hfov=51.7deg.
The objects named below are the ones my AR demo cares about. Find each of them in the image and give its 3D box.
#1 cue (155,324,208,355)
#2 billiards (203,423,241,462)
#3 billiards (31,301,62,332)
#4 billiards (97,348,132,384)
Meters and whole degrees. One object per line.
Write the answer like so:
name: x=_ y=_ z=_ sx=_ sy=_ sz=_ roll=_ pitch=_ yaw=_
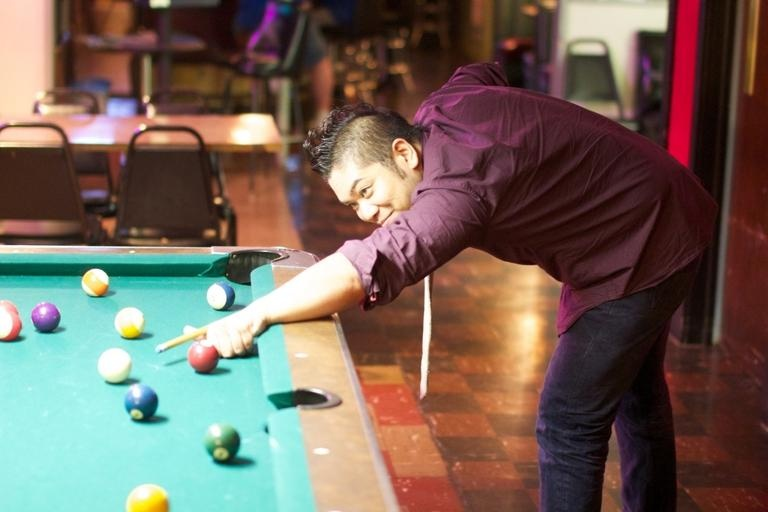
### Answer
cue: x=-0.631 y=0.259 z=2.479 sx=0.153 sy=0.031 sz=0.093 roll=-28 pitch=15 yaw=-16
billiards: x=-0.414 y=0.482 z=2.038 sx=0.091 sy=0.100 sz=0.059 roll=-2 pitch=12 yaw=-13
billiards: x=-1.114 y=0.206 z=2.613 sx=0.059 sy=0.069 sz=0.060 roll=12 pitch=35 yaw=27
billiards: x=-0.805 y=0.329 z=2.368 sx=0.104 sy=0.118 sz=0.101 roll=4 pitch=5 yaw=-12
